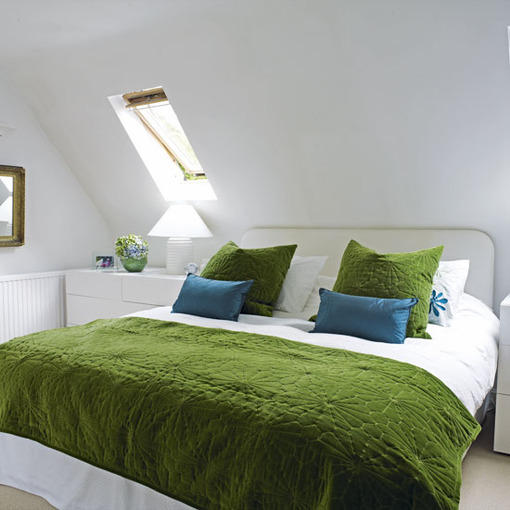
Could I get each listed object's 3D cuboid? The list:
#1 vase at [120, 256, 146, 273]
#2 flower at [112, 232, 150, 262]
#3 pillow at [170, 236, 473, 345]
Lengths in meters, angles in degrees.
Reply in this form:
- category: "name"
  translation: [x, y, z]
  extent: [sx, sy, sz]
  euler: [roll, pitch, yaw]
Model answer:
- category: "vase"
  translation: [-1.032, 0.097, 3.837]
  extent: [0.165, 0.100, 0.156]
  euler: [0, -9, 12]
- category: "flower"
  translation: [-1.037, -0.063, 3.771]
  extent: [0.230, 0.171, 0.242]
  euler: [13, 11, -16]
- category: "pillow"
  translation: [0.362, 0.086, 2.485]
  extent: [0.930, 0.350, 0.734]
  euler: [1, 4, 40]
